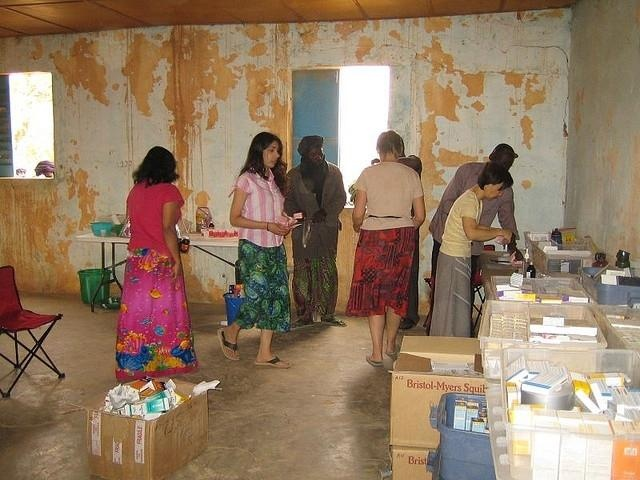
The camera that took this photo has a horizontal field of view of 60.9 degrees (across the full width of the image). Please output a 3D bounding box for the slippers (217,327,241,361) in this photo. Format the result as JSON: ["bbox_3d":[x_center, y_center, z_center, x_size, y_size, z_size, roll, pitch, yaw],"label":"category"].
[{"bbox_3d":[-0.852,0.989,5.100,0.101,0.350,0.141,-17,1,42],"label":"slippers"}]

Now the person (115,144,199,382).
[{"bbox_3d":[-1.358,0.233,4.409,0.646,1.949,0.288,-2,10,-15],"label":"person"}]

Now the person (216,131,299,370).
[{"bbox_3d":[-0.523,0.127,4.771,0.632,2.100,0.539,-2,10,-11],"label":"person"}]

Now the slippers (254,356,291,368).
[{"bbox_3d":[-0.420,1.111,4.941,0.251,0.073,0.120,0,2,18],"label":"slippers"}]

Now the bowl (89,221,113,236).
[{"bbox_3d":[-2.728,-0.149,6.896,0.204,0.140,0.219,1,11,0],"label":"bowl"}]

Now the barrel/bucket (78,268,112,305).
[{"bbox_3d":[-2.923,0.590,7.172,0.468,0.491,0.475,2,11,0],"label":"barrel/bucket"}]

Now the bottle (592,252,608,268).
[{"bbox_3d":[2.073,0.148,4.047,0.084,0.125,0.067,-2,-3,21],"label":"bottle"}]

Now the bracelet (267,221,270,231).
[{"bbox_3d":[-0.436,-0.110,4.509,0.026,0.069,0.055,-1,10,-6],"label":"bracelet"}]
